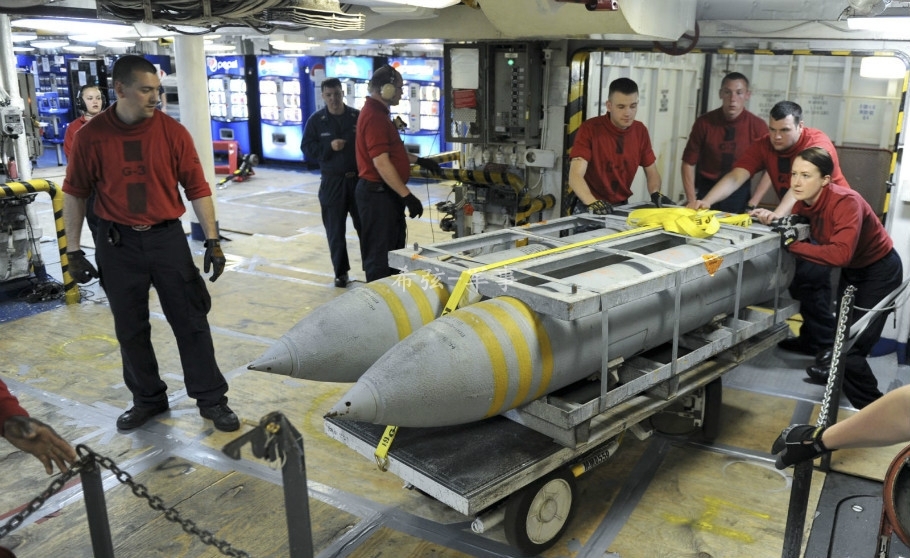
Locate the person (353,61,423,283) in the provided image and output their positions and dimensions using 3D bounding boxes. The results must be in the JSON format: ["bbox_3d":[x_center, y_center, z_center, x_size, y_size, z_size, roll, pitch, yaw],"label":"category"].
[{"bbox_3d":[-0.928,-1.343,7.094,0.763,2.834,0.973,-4,19,-9],"label":"person"}]

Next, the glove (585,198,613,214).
[{"bbox_3d":[1.489,-0.746,5.561,0.236,0.122,0.158,4,18,12],"label":"glove"}]

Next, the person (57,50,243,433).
[{"bbox_3d":[-2.722,-0.238,4.793,1.247,3.329,0.870,-6,20,-14],"label":"person"}]

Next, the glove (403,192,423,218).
[{"bbox_3d":[-0.562,-0.952,7.087,0.225,0.362,0.664,-2,17,-6],"label":"glove"}]

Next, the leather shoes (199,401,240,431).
[{"bbox_3d":[-2.155,1.294,5.088,0.466,0.151,0.197,21,31,31],"label":"leather shoes"}]

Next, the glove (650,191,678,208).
[{"bbox_3d":[2.278,-0.889,6.003,0.237,0.133,0.339,5,17,16],"label":"glove"}]

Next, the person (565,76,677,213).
[{"bbox_3d":[1.743,-1.463,6.049,0.889,1.491,1.208,15,24,38],"label":"person"}]

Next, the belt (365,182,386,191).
[{"bbox_3d":[-1.039,-1.206,7.043,0.161,0.122,0.171,17,10,-11],"label":"belt"}]

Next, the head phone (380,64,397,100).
[{"bbox_3d":[-0.851,-2.568,7.048,0.189,0.451,0.206,-1,19,0],"label":"head phone"}]
